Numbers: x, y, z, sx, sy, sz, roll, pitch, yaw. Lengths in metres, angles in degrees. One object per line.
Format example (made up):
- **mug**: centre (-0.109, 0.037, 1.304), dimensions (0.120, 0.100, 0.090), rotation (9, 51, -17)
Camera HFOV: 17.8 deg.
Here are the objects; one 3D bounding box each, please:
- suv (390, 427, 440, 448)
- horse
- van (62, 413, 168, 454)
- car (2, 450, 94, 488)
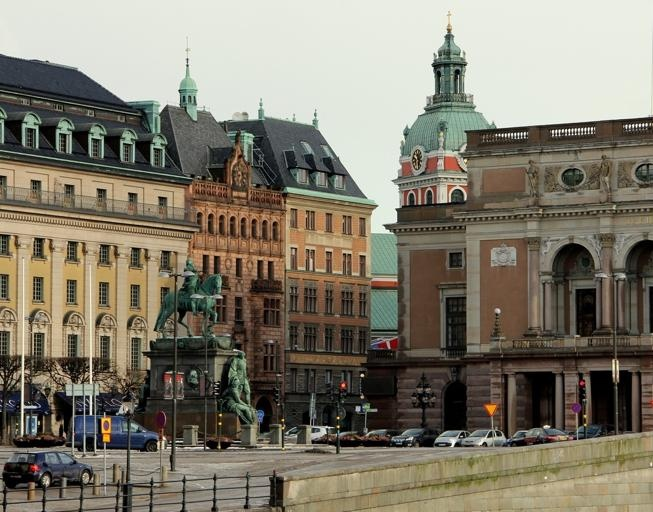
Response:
- **suv**: centre (5.514, 11.891, 134.620), dimensions (1.285, 0.946, 2.845), rotation (-6, -11, 30)
- **horse**: centre (-8.374, 3.084, 125.240), dimensions (5.714, 3.677, 1.330), rotation (-4, -8, 42)
- **van**: centre (-11.932, 9.991, 116.381), dimensions (4.880, 1.812, 2.181), rotation (0, -5, -8)
- **car**: centre (-12.957, 9.744, 95.879), dimensions (3.861, 1.789, 2.882), rotation (0, -8, -34)
